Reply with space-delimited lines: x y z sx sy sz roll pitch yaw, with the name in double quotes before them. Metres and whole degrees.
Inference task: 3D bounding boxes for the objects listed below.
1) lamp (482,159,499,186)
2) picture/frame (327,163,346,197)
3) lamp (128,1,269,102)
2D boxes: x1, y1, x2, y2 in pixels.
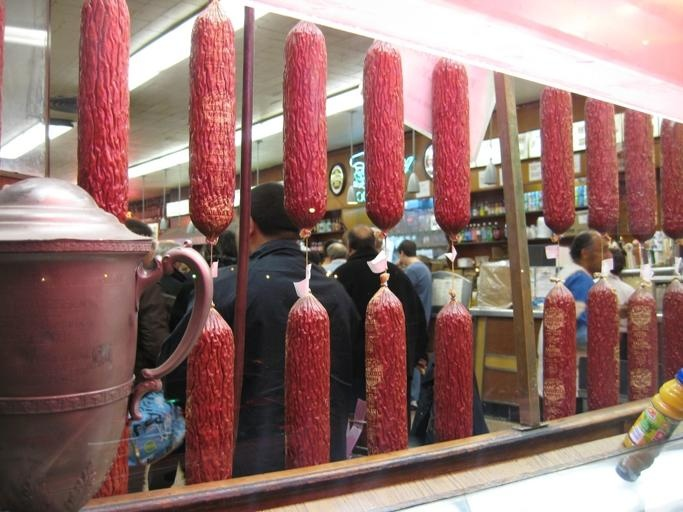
"lamp" 0.413 -0.226 1.559 0.051 0.092 0.049 4 7 39
"picture/frame" -0.008 -0.185 1.353 0.006 0.083 0.076 1 0 -34
"lamp" -0.267 -0.396 1.055 0.251 0.183 0.075 -3 0 -21
